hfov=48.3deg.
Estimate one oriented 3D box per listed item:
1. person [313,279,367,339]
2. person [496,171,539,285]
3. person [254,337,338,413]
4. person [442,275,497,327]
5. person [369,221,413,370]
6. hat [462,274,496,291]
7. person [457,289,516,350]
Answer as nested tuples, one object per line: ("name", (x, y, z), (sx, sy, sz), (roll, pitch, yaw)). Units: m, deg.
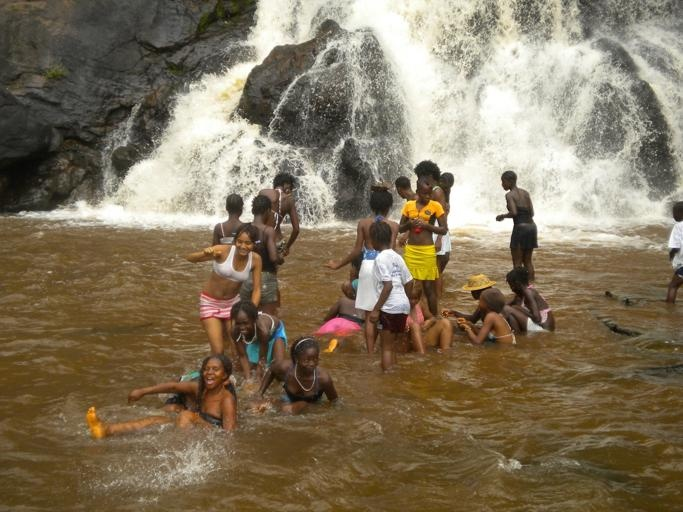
("person", (0.003, 0.782, 10.879), (0.364, 0.377, 0.899), (25, 36, 11))
("person", (2.788, -0.480, 12.152), (0.646, 1.732, 0.383), (2, 3, -2))
("person", (-0.545, 1.408, 8.859), (0.704, 0.655, 0.435), (1, 41, -25))
("person", (1.791, 0.534, 10.836), (0.896, 0.888, 0.544), (-1, 11, -7))
("person", (0.634, 0.497, 9.510), (0.547, 1.835, 0.365), (1, 3, -8))
("hat", (1.909, 0.374, 10.630), (0.384, 0.254, 0.527), (2, 4, 9))
("person", (2.024, 0.836, 10.194), (0.804, 0.755, 0.538), (7, 9, 33))
